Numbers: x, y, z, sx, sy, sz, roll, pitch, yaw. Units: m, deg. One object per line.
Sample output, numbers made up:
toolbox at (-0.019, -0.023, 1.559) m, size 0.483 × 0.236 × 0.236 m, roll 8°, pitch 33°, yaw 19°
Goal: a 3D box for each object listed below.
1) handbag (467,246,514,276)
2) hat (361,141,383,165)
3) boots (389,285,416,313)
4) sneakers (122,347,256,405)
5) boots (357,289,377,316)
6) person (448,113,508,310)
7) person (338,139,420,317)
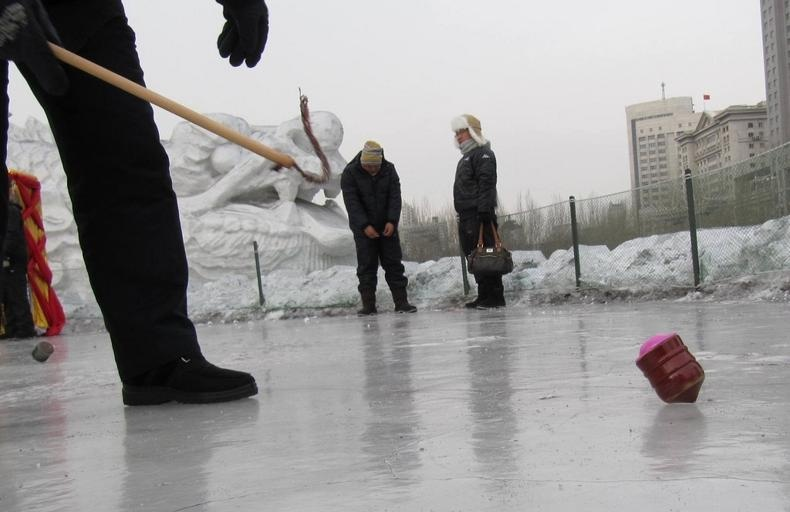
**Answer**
handbag at (0.890, 0.040, 7.881) m, size 0.441 × 0.263 × 0.224 m, roll -7°, pitch -2°, yaw 21°
hat at (-0.251, -1.062, 8.503) m, size 0.229 × 0.222 × 0.344 m, roll -6°, pitch -2°, yaw -3°
boots at (0.087, 0.449, 8.600) m, size 0.248 × 0.251 × 0.169 m, roll -7°, pitch -2°, yaw 14°
sneakers at (-0.726, 0.430, 3.025) m, size 0.499 × 0.210 × 0.182 m, roll -4°, pitch -4°, yaw 3°
boots at (-0.315, 0.472, 8.528) m, size 0.181 × 0.251 × 0.376 m, roll -7°, pitch -2°, yaw 9°
person at (0.807, -0.445, 8.114) m, size 0.432 × 1.858 × 0.792 m, roll -7°, pitch -1°, yaw 4°
person at (-0.194, -0.284, 8.590) m, size 0.625 × 1.679 × 0.496 m, roll -6°, pitch -1°, yaw -4°
